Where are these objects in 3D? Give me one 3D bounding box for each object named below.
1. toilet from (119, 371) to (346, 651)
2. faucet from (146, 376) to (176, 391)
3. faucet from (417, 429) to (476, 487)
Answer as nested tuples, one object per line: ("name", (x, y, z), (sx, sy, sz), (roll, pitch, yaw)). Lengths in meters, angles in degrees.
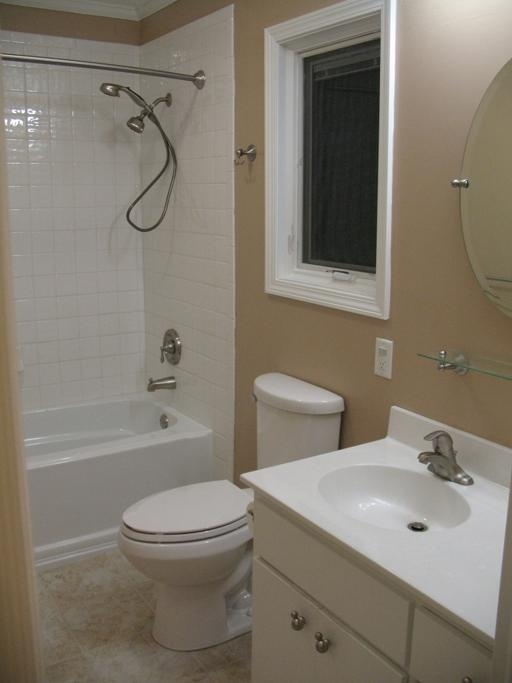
("toilet", (-0.127, 0.597, 1.898), (0.682, 0.906, 0.479), (-1, 15, -25))
("faucet", (-0.516, 0.234, 2.886), (0.113, 0.087, 0.089), (2, -3, 2))
("faucet", (0.462, 0.270, 1.265), (0.132, 0.116, 0.069), (21, 40, 40))
